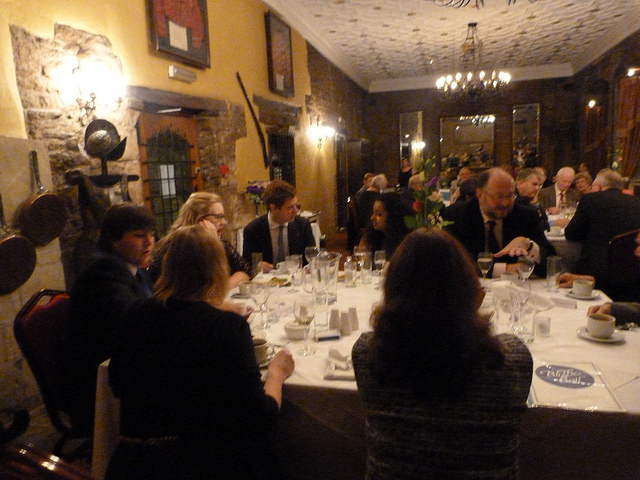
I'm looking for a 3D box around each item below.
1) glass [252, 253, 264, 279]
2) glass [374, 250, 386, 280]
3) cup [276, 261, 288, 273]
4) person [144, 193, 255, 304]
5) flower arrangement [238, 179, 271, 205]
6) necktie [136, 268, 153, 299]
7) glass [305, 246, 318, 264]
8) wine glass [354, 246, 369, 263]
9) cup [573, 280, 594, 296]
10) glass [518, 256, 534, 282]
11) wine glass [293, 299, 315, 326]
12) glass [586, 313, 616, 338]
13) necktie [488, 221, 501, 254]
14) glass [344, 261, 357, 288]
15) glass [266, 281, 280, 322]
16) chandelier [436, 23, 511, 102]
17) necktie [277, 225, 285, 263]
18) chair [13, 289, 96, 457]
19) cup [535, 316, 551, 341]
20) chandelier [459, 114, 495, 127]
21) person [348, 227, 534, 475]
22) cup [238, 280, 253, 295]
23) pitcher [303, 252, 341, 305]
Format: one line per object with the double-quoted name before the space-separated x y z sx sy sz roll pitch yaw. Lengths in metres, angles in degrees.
"glass" -0.429 0.165 3.253 0.067 0.178 0.202 0 9 -9
"glass" 0.389 0.143 3.091 0.072 0.144 0.149 -1 9 -15
"cup" -0.282 0.209 3.540 0.082 0.062 0.064 -1 2 24
"person" -0.668 0.016 3.096 0.719 0.792 0.759 0 3 10
"flower arrangement" -0.828 -0.588 5.863 0.287 0.304 0.498 1 8 -1
"necktie" -1.002 0.248 2.709 0.129 0.146 0.054 11 -4 -41
"glass" -0.038 0.099 3.192 0.093 0.107 0.096 -1 2 -20
"wine glass" 0.278 0.095 3.286 0.101 0.185 0.100 -1 10 3
"cup" 1.515 0.266 2.743 0.095 0.072 0.103 -1 0 0
"glass" 1.161 0.165 2.699 0.081 0.129 0.249 5 9 23
"wine glass" -0.082 0.368 2.449 0.113 0.125 0.111 -1 6 0
"glass" 1.325 0.395 2.252 0.109 0.089 0.164 7 10 33
"necktie" 1.287 -0.014 3.567 0.148 0.204 0.052 2 1 -21
"glass" 0.206 0.222 3.164 0.080 0.149 0.154 1 8 3
"glass" -0.280 0.387 2.801 0.084 0.076 0.312 11 41 -14
"chandelier" 3.161 -3.282 9.769 1.591 1.736 1.573 -1 9 8
"necktie" -0.322 0.028 4.022 0.069 0.313 0.068 -5 10 -32
"chair" -1.345 0.682 2.415 0.309 0.831 0.415 -5 10 -33
"cup" 1.055 0.413 2.283 0.088 0.099 0.093 1 12 0
"chandelier" 3.950 -2.984 11.968 0.770 0.302 0.131 2 9 7
"person" 0.401 0.389 1.576 0.586 0.832 0.253 1 9 2
"cup" -0.467 0.300 3.001 0.075 0.066 0.092 2 -2 -33
"pitcher" -0.004 0.212 3.004 0.197 0.324 0.325 13 18 40
